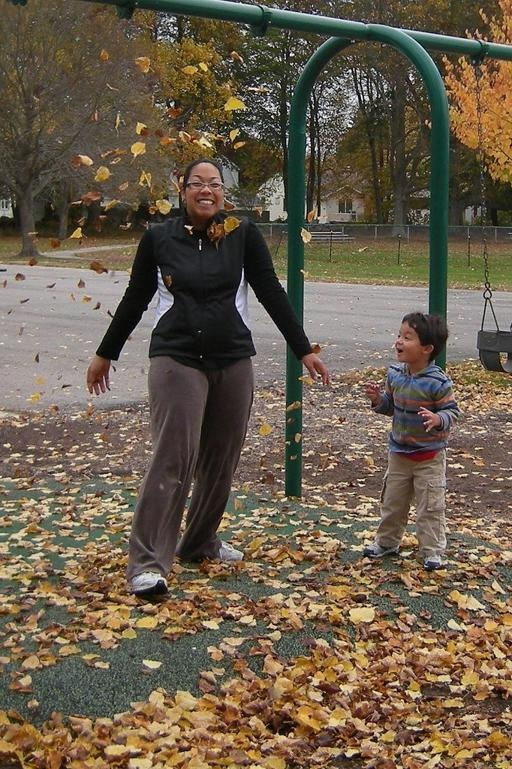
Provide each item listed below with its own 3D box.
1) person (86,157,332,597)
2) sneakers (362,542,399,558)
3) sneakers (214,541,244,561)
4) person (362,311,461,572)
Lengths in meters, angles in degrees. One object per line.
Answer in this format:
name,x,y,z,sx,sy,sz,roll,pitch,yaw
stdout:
person,-0.226,-0.031,3.011,0.673,1.720,0.467,0,11,-38
sneakers,0.587,0.784,3.484,0.181,0.074,0.064,7,6,-19
sneakers,-0.130,0.766,3.342,0.160,0.062,0.055,2,5,-27
person,0.698,0.262,3.272,0.430,1.165,0.375,10,9,19
